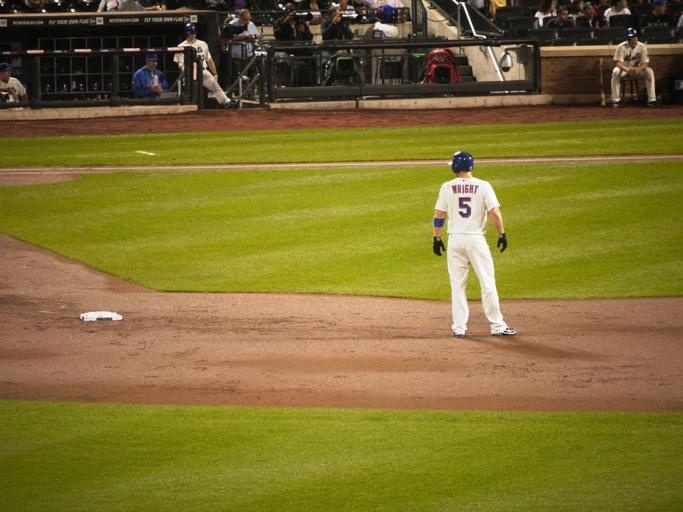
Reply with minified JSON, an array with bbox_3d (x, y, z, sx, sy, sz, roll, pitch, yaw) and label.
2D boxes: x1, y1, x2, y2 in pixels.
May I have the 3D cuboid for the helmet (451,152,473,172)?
[{"bbox_3d":[1.709,-1.318,19.501,0.260,0.269,0.340,-6,16,-22],"label":"helmet"}]

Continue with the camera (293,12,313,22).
[{"bbox_3d":[-1.075,-6.843,39.781,0.390,0.135,0.384,-4,-6,29],"label":"camera"}]

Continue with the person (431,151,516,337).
[{"bbox_3d":[1.824,-0.154,19.418,1.072,2.575,0.559,-2,8,7],"label":"person"}]

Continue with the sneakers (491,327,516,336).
[{"bbox_3d":[2.277,1.084,19.457,0.354,0.148,0.123,-3,16,-3],"label":"sneakers"}]
